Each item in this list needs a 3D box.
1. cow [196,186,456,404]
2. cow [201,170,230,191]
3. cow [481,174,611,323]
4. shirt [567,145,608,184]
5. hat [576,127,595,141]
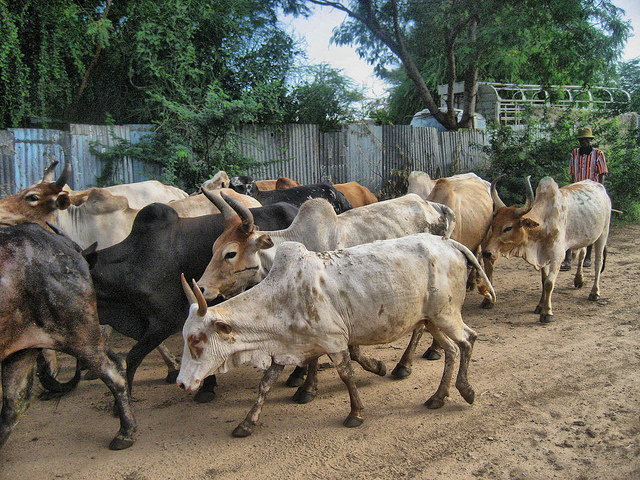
[{"bbox_3d":[0.432,0.818,8.276,3.869,2.674,1.013,1,17,1],"label":"cow"},{"bbox_3d":[-1.813,-0.959,11.044,0.504,0.204,0.315,-19,13,29],"label":"cow"},{"bbox_3d":[3.755,0.019,10.634,3.225,2.341,1.034,-10,12,-37],"label":"cow"},{"bbox_3d":[5.159,-1.470,12.542,0.723,0.737,0.359,8,17,39],"label":"shirt"},{"bbox_3d":[5.091,-2.052,12.466,0.251,0.241,0.580,1,6,22],"label":"hat"}]
